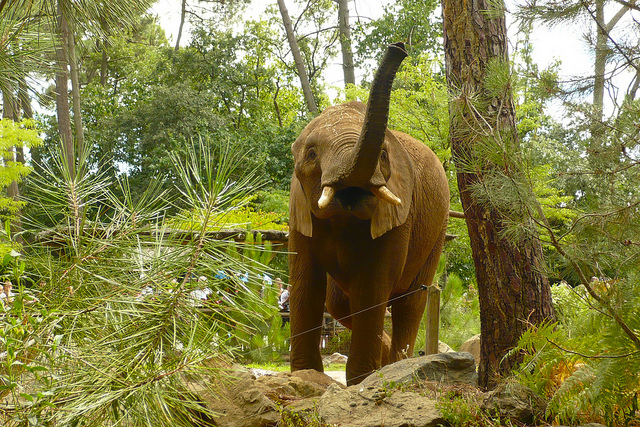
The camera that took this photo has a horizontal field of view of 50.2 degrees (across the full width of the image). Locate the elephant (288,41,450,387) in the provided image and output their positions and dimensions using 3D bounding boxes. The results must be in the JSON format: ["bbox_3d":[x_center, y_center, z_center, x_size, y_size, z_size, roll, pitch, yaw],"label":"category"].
[{"bbox_3d":[0.434,0.152,7.340,1.327,2.566,2.576,2,-2,21],"label":"elephant"}]
